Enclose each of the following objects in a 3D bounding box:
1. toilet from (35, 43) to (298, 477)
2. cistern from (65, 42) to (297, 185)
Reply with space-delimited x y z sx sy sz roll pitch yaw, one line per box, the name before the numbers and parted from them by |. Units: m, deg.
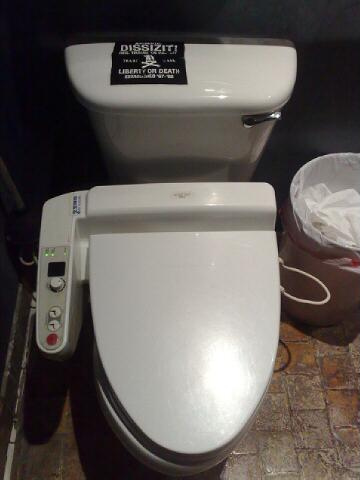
toilet | 0.002 -0.032 0.924 0.478 0.586 0.943 -1 75 1
cistern | 0.027 -0.282 0.950 0.405 0.580 0.247 1 80 4
